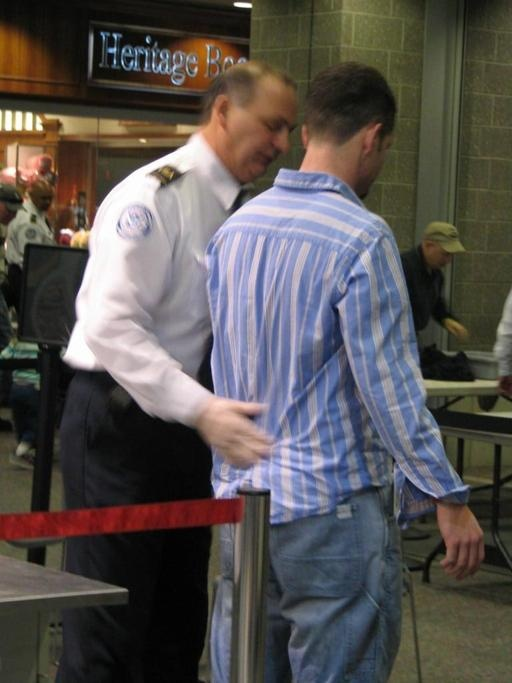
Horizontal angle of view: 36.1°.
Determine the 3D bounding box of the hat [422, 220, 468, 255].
[{"bbox_3d":[0.813,-0.448,3.383,0.161,0.095,0.123,25,8,-3],"label":"hat"}]
